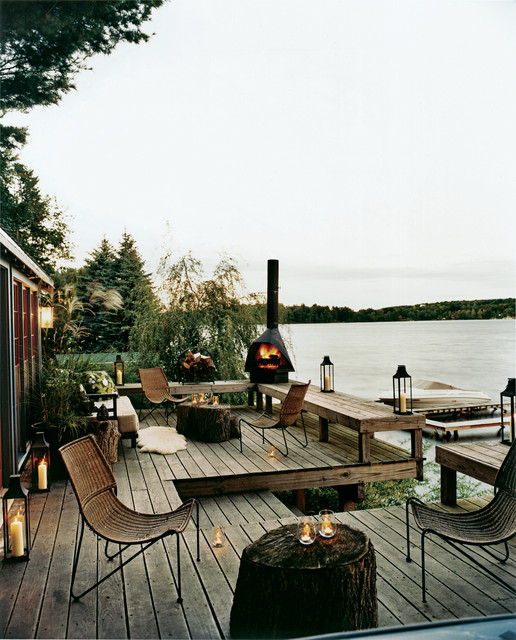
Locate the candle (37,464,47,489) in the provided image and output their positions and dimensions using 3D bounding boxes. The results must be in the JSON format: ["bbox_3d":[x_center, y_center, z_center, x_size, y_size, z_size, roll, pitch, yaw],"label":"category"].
[{"bbox_3d":[-1.540,1.080,3.657,0.055,0.198,0.160,-1,-1,-25],"label":"candle"}]

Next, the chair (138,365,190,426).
[{"bbox_3d":[-1.542,1.137,8.131,0.646,0.834,2.014,-1,-1,-12],"label":"chair"}]

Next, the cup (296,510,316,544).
[{"bbox_3d":[0.233,1.001,2.520,0.103,0.147,0.105,-2,-1,0],"label":"cup"}]

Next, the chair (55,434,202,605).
[{"bbox_3d":[-0.700,1.058,2.846,0.745,0.734,0.565,2,-2,0],"label":"chair"}]

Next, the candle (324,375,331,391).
[{"bbox_3d":[0.973,0.889,7.197,0.093,0.209,0.171,-2,-1,30],"label":"candle"}]

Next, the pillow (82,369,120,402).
[{"bbox_3d":[-1.996,0.822,6.502,0.159,0.486,0.511,-27,-20,26],"label":"pillow"}]

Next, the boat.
[{"bbox_3d":[5.535,2.121,14.839,2.061,0.500,2.724,-2,-1,16],"label":"boat"}]
